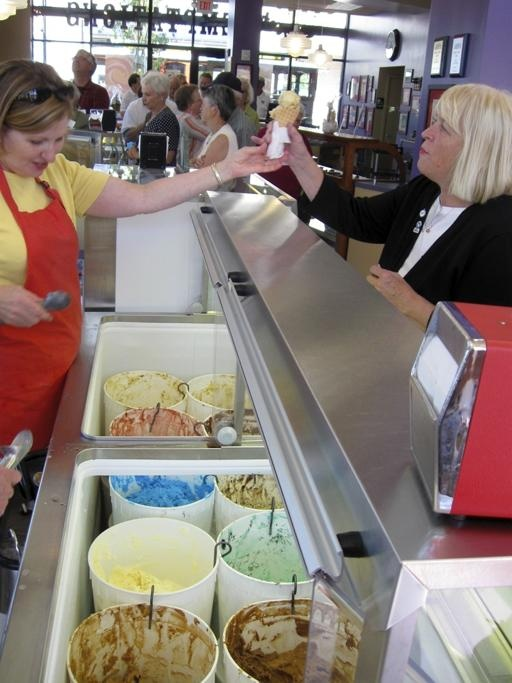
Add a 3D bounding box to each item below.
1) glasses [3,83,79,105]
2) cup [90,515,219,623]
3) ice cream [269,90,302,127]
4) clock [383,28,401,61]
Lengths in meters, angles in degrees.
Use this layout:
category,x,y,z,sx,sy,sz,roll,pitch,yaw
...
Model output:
category,x,y,z,sx,sy,sz,roll,pitch,yaw
glasses,-0.478,-0.571,1.200,0.097,0.030,0.097,0,11,34
cup,-0.180,0.410,0.913,0.192,0.194,0.187,4,11,-1
ice cream,0.106,-0.737,1.626,0.084,0.111,0.034,15,41,14
clock,3.221,-6.942,11.965,0.247,0.632,0.609,4,21,-1
